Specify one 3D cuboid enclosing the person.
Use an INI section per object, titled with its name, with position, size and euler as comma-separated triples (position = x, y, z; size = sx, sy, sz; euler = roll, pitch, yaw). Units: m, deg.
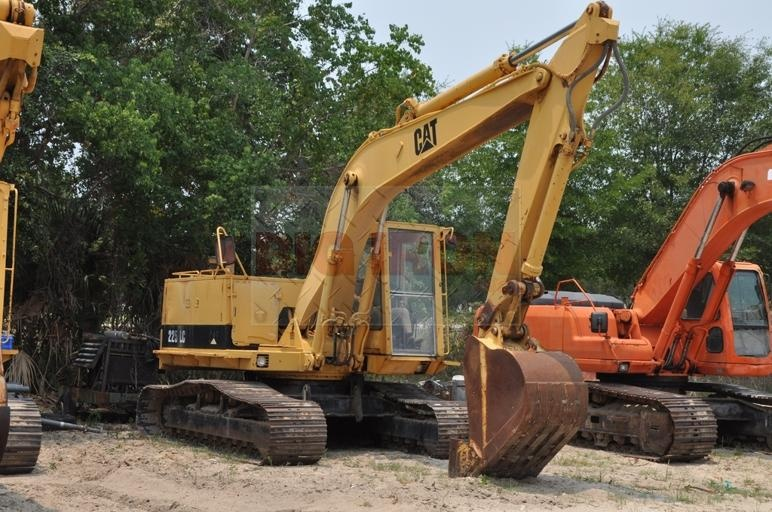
[person]
position = -0.143, 1.222, 15.283
size = 1.232, 1.517, 0.921
euler = -2, 0, -7
